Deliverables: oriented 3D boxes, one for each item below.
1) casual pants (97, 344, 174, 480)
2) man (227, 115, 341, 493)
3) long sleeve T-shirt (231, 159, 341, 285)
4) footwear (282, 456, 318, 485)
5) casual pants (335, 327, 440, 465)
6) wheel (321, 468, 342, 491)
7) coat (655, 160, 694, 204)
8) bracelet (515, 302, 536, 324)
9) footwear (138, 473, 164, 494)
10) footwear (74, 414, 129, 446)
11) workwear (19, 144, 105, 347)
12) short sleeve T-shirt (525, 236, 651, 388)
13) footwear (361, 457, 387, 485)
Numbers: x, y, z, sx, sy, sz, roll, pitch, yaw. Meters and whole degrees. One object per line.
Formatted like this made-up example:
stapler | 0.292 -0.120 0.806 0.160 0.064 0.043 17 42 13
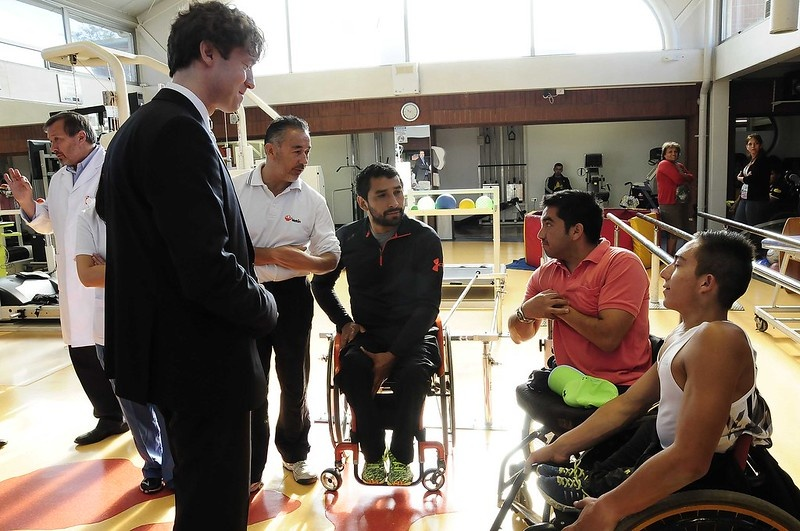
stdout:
casual pants | -1.572 0.851 3.442 0.215 0.855 0.350 -22 -1 15
man | -0.695 0.235 3.307 0.746 2.113 0.572 1 5 -6
long sleeve T-shirt | -0.675 -0.264 3.349 0.777 0.631 0.436 9 22 16
footwear | -0.621 1.229 3.436 0.244 0.095 0.094 0 10 32
casual pants | -0.043 0.684 3.256 0.502 0.671 0.845 0 8 6
wheel | -0.383 1.214 3.237 0.130 0.127 0.054 11 20 4
coat | 4.020 -1.200 8.339 0.520 0.643 0.455 0 1 -25
bracelet | 0.659 0.250 2.989 0.103 0.109 0.072 5 13 1
footwear | -1.455 1.272 3.338 0.141 0.058 0.070 -2 15 -33
footwear | -2.056 1.144 3.957 0.350 0.146 0.115 0 -3 -40
workwear | -2.114 -0.105 3.716 0.456 1.314 0.404 -4 11 -5
short sleeve T-shirt | 1.004 0.249 3.043 0.456 0.723 0.748 3 -5 -35
footwear | -0.133 1.135 3.162 0.164 0.155 0.098 2 -7 2
